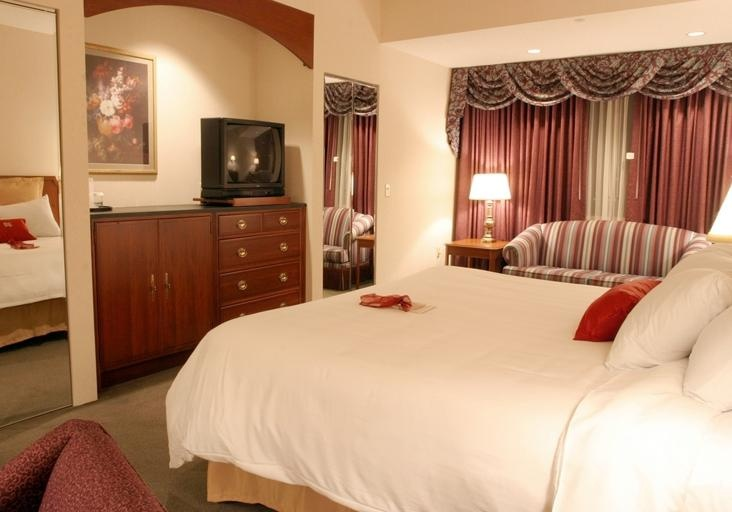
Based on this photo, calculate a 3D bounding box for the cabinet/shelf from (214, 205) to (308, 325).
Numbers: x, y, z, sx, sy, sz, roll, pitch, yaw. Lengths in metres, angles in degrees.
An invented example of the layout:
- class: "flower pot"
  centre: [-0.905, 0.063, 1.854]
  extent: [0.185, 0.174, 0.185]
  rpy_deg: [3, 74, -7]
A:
- class: "cabinet/shelf"
  centre: [-0.931, 0.059, 4.403]
  extent: [0.440, 1.157, 0.917]
  rpy_deg: [5, 8, 40]

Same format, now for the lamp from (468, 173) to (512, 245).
- class: "lamp"
  centre: [1.464, -0.584, 6.226]
  extent: [0.460, 0.796, 0.575]
  rpy_deg: [3, 12, 15]

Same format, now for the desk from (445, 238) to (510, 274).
- class: "desk"
  centre: [1.314, -0.068, 6.162]
  extent: [0.502, 0.502, 0.502]
  rpy_deg: [6, 11, 32]

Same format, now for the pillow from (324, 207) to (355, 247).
- class: "pillow"
  centre: [-0.269, -0.290, 5.227]
  extent: [0.329, 0.363, 0.084]
  rpy_deg: [2, 0, 45]

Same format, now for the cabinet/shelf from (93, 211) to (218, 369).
- class: "cabinet/shelf"
  centre: [-1.589, 0.253, 3.829]
  extent: [0.454, 1.344, 1.104]
  rpy_deg: [7, 8, 42]

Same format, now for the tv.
- class: "tv"
  centre: [-1.122, -0.870, 4.618]
  extent: [0.398, 0.712, 0.698]
  rpy_deg: [6, 8, 44]

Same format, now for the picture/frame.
- class: "picture/frame"
  centre: [-2.031, -1.195, 4.344]
  extent: [0.611, 1.045, 0.031]
  rpy_deg: [-12, 16, -43]
